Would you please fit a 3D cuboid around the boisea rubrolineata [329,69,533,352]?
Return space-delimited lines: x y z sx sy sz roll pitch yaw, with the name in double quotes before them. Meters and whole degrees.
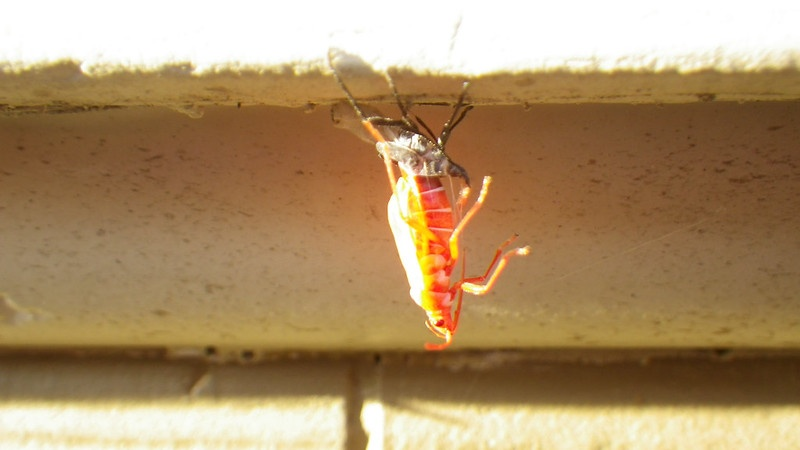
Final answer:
"boisea rubrolineata" 0.103 0.043 2.516 0.234 0.435 0.661 -27 -18 9
